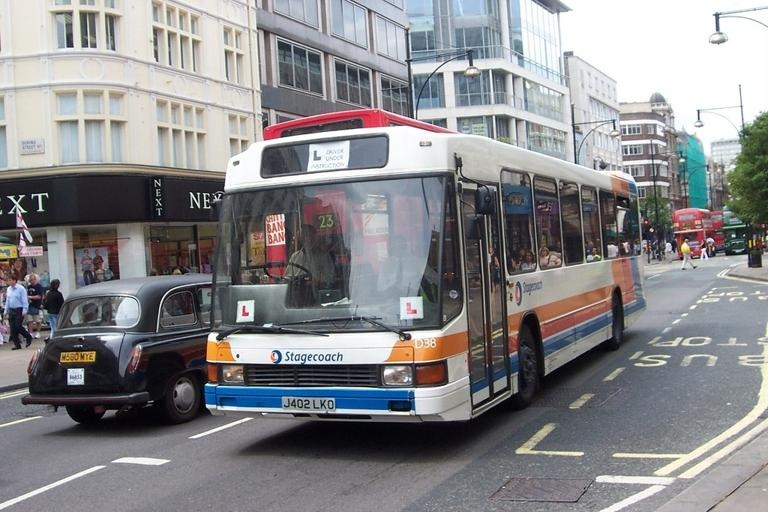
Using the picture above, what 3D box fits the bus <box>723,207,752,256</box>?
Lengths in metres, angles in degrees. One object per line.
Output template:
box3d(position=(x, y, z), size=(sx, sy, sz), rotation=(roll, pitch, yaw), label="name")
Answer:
box3d(position=(35.141, -2.410, 71.452), size=(2.096, 4.816, 5.862), rotation=(-3, 2, 25), label="bus")

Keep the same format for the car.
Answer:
box3d(position=(-3.981, 1.413, 12.100), size=(1.957, 1.728, 3.685), rotation=(-2, 0, 23), label="car")

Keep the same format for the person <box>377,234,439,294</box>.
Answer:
box3d(position=(0.310, 0.112, 8.932), size=(0.710, 0.746, 0.220), rotation=(4, -1, 9), label="person")

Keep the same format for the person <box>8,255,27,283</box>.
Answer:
box3d(position=(-14.251, 0.471, 27.453), size=(0.733, 1.047, 0.399), rotation=(-3, -1, -44), label="person")

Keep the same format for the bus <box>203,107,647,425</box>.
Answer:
box3d(position=(2.263, 0.045, 14.814), size=(3.668, 4.541, 13.134), rotation=(-5, -1, 28), label="bus")

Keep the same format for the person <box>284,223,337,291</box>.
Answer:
box3d(position=(-0.962, 0.024, 9.154), size=(0.733, 0.766, 0.240), rotation=(4, -5, 23), label="person")

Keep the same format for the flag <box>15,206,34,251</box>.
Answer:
box3d(position=(-12.198, -0.875, 23.932), size=(0.415, 1.686, 0.202), rotation=(-6, -16, -29), label="flag")
